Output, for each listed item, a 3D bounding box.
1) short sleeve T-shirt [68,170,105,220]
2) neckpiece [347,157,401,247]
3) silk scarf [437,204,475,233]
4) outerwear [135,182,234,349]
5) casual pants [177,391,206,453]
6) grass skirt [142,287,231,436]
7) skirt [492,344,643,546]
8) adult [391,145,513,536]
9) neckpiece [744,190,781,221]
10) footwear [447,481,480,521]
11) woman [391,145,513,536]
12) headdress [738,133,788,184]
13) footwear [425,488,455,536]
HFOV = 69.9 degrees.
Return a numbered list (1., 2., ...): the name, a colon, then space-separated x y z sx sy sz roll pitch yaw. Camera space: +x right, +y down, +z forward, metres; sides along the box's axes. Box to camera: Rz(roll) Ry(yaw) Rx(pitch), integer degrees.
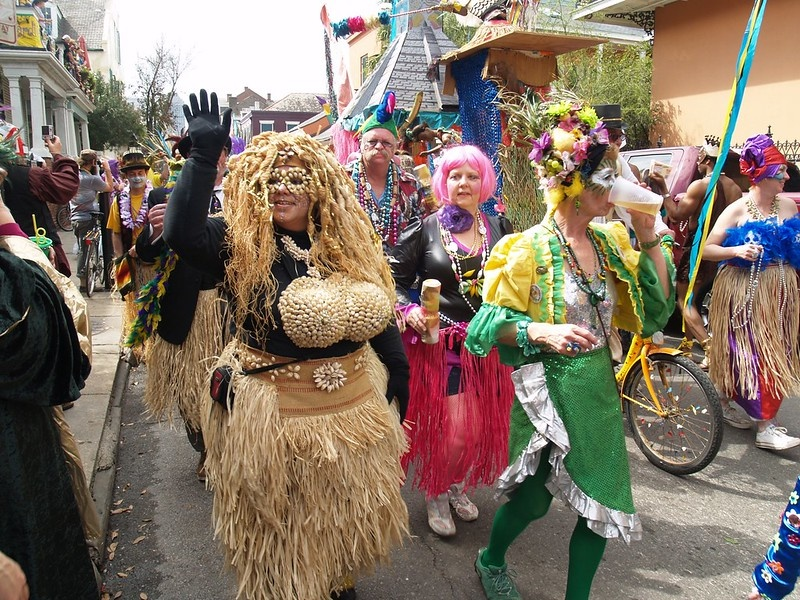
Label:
1. short sleeve T-shirt: -4.589 -1.492 8.412 0.603 0.686 0.496 1 9 36
2. neckpiece: -0.160 -0.669 4.101 0.389 0.680 0.165 3 -15 -19
3. silk scarf: 0.314 -0.454 3.281 0.169 0.161 0.081 4 18 26
4. outerwear: -1.590 -0.130 3.982 0.411 0.949 1.300 -14 15 -25
5. casual pants: -1.272 0.792 3.653 0.103 0.326 0.084 -12 2 -4
6. grass skirt: -1.284 0.327 3.778 0.747 0.912 0.410 3 5 15
7. skirt: 0.734 0.612 2.467 0.571 0.728 0.357 2 14 4
8. adult: 0.349 0.259 3.390 0.777 2.202 0.677 -2 5 -15
9. neckpiece: 2.721 -0.701 4.324 0.250 0.254 0.040 1 -7 -2
10. footwear: 0.352 1.191 3.474 0.099 0.173 0.291 -1 10 -26
11. woman: 0.377 0.276 3.421 0.842 2.189 0.659 -2 5 -18
12. headdress: 2.665 -1.024 4.254 0.330 0.326 0.269 -8 6 -3
13. footwear: 0.233 1.212 3.315 0.125 0.223 0.325 0 2 -8
